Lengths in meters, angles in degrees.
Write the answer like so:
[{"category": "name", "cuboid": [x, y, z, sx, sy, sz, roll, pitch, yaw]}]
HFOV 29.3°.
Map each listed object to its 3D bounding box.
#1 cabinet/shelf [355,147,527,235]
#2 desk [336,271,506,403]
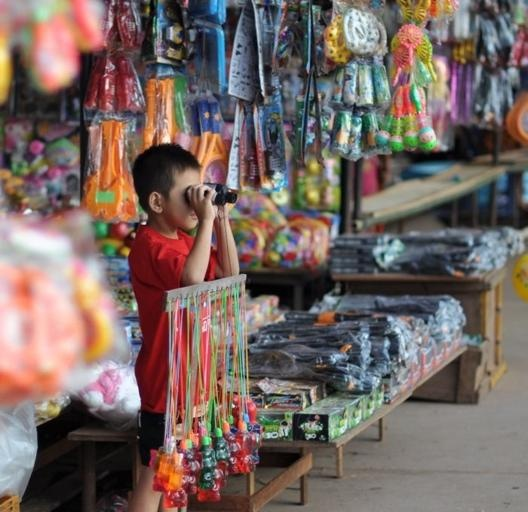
[{"category": "cabinet/shelf", "cuboid": [1.172, -0.423, 6.546, 0.998, 0.327, 0.668, -13, 11, -9]}, {"category": "desk", "cuboid": [0.874, 0.321, 4.928, 0.674, 0.444, 0.668, 0, 7, 14]}]
